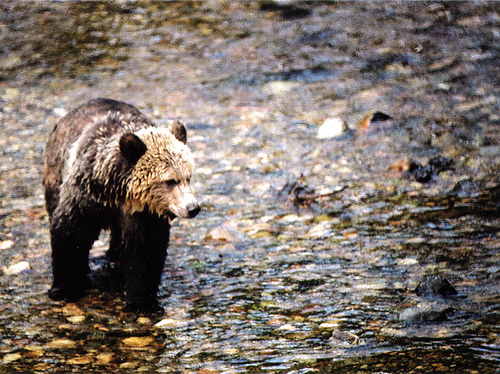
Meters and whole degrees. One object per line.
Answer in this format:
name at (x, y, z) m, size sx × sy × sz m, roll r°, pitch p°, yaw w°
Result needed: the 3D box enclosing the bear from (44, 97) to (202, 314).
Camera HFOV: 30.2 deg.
bear at (-1.656, 0.148, 11.592) m, size 1.391 × 2.705 × 1.780 m, roll 21°, pitch -37°, yaw -36°
